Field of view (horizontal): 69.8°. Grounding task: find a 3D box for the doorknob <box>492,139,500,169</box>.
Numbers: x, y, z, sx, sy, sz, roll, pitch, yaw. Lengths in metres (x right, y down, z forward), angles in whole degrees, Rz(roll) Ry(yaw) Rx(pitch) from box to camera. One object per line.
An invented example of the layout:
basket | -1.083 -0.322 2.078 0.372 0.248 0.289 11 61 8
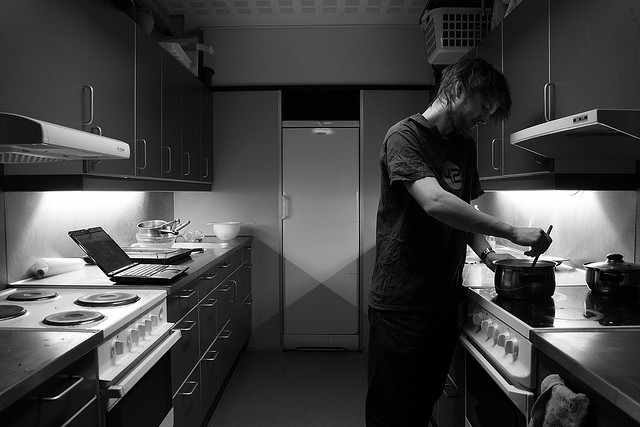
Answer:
doorknob | 1.060 -0.365 2.783 0.026 0.178 0.080 0 5 -8

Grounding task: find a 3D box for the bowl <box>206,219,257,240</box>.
bowl | -0.788 0.136 4.091 0.443 0.147 0.332 0 6 -6

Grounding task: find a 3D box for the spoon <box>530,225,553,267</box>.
spoon | 1.023 0.152 2.126 0.028 0.266 0.029 5 36 -20

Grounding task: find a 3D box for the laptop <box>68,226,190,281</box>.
laptop | -1.044 0.221 2.587 0.549 0.256 0.420 3 2 -3

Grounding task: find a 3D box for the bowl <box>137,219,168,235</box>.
bowl | -1.183 0.083 3.241 0.145 0.051 0.133 0 12 0

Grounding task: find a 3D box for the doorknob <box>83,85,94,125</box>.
doorknob | -1.190 -0.564 2.365 0.042 0.205 0.067 -1 5 -18

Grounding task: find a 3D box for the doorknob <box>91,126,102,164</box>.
doorknob | -1.167 -0.363 2.407 0.045 0.197 0.076 -1 5 -21

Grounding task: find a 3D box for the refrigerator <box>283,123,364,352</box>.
refrigerator | 0.026 0.216 4.149 0.721 2.069 0.228 0 5 -6

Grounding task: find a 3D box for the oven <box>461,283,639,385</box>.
oven | 1.078 0.504 2.128 0.658 0.349 0.622 0 6 -3
